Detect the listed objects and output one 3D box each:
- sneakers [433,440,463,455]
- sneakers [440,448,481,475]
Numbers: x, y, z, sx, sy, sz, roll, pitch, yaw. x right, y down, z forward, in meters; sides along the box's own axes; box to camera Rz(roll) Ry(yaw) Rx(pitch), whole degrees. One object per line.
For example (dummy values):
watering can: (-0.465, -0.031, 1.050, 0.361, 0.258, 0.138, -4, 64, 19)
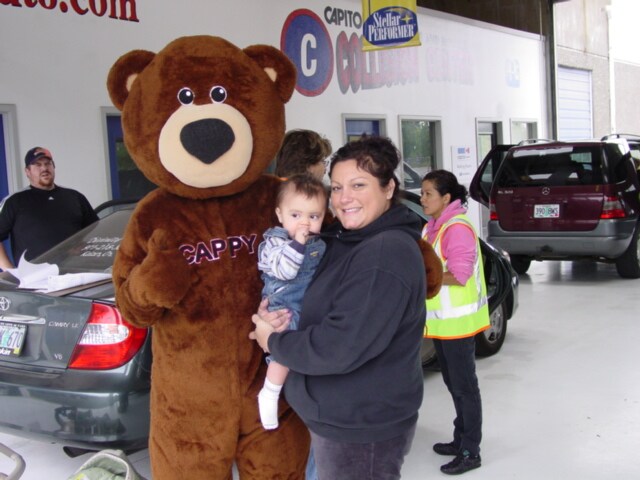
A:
sneakers: (0.870, 1.412, 3.674, 0.190, 0.082, 0.069, 2, 5, 31)
sneakers: (0.914, 1.429, 3.530, 0.286, 0.131, 0.107, -2, 2, -21)
